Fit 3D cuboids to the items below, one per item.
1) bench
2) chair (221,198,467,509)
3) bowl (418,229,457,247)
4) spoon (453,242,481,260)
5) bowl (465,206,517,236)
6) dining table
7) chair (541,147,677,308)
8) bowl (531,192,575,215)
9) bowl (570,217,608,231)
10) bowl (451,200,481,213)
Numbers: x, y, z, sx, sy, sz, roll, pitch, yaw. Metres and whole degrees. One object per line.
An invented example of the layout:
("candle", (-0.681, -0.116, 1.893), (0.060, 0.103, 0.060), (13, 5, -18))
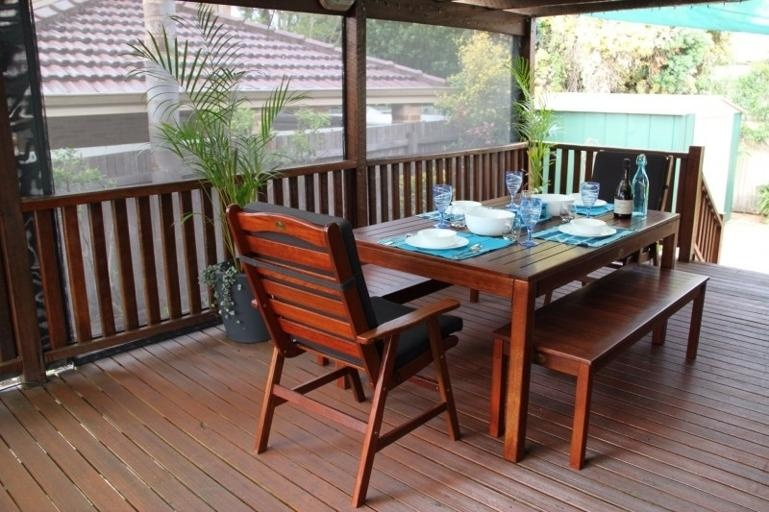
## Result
("bench", (1.224, 0.646, 3.160), (1.299, 0.365, 0.418), (-17, 24, -42))
("chair", (-0.232, 0.425, 2.827), (0.807, 1.432, 0.812), (16, 28, 43))
("bowl", (0.290, -0.106, 3.191), (0.165, 0.045, 0.145), (4, 17, 27))
("spoon", (0.475, -0.035, 3.096), (0.067, 0.024, 0.203), (15, 25, 34))
("bowl", (0.663, -0.218, 3.460), (0.297, 0.088, 0.219), (6, 21, 22))
("dining table", (0.875, 0.184, 3.845), (1.317, 0.707, 2.097), (20, 23, 40))
("chair", (1.980, -0.333, 4.906), (0.876, 0.865, 0.801), (-16, 2, -12))
("bowl", (1.130, -0.350, 3.704), (0.350, 0.113, 0.298), (0, 7, 11))
("bowl", (1.254, -0.205, 3.397), (0.139, 0.029, 0.125), (8, 19, 26))
("bowl", (0.562, -0.361, 3.852), (0.168, 0.051, 0.164), (-2, 10, 0))
